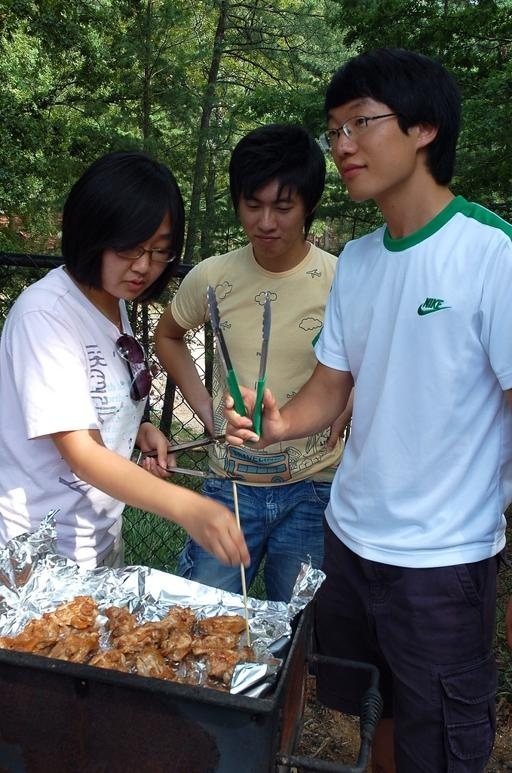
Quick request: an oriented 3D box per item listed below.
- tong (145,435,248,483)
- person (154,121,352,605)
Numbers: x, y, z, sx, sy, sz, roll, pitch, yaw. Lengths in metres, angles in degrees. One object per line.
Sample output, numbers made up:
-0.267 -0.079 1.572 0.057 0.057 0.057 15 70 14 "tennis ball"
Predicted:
-0.155 0.258 2.164 0.376 0.158 0.180 -2 9 -17 "tong"
0.095 -0.067 2.541 0.659 1.580 0.624 1 8 14 "person"
